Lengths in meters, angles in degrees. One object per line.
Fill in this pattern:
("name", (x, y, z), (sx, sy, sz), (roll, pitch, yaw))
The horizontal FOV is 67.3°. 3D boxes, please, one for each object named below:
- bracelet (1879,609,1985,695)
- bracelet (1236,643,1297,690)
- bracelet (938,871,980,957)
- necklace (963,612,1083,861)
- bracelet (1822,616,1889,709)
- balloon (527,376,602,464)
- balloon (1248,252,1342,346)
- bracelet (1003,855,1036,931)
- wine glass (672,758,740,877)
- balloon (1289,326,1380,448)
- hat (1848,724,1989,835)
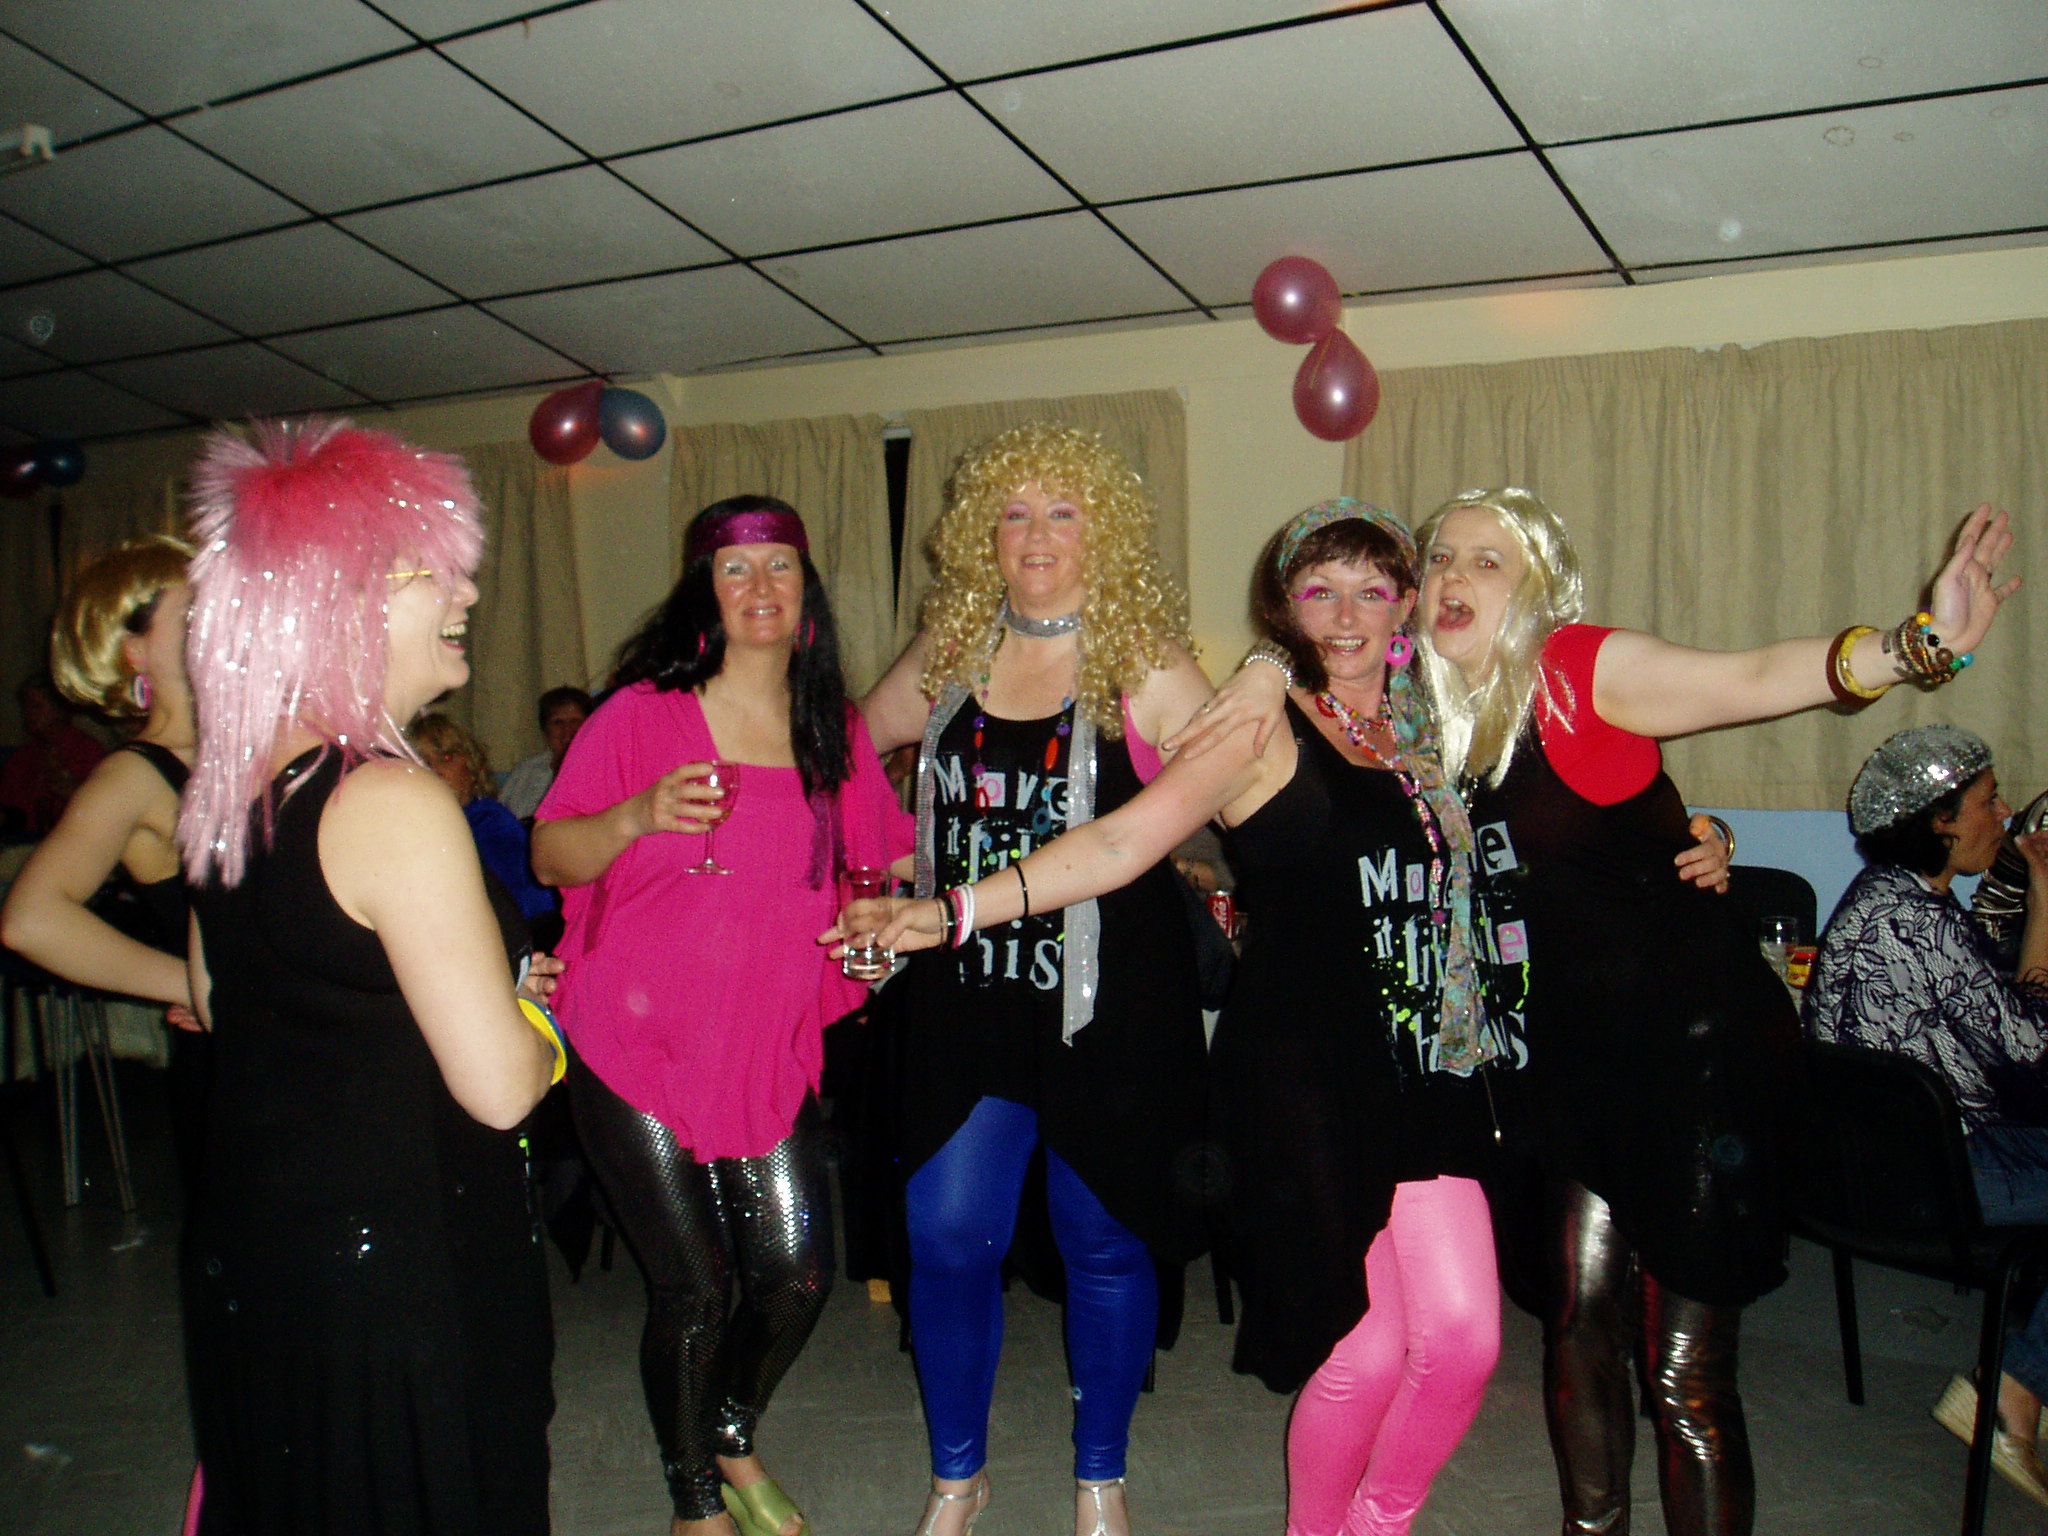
("bracelet", (1.639, -0.237, 2.808), (0.130, 0.151, 0.058), (38, -40, -8))
("bracelet", (0.464, -0.188, 2.964), (0.106, 0.115, 0.077), (13, 43, 14))
("bracelet", (-0.126, 0.277, 2.951), (0.074, 0.115, 0.053), (0, 5, -27))
("necklace", (0.042, -0.067, 3.147), (0.215, 0.486, 0.119), (-1, 0, 20))
("bracelet", (1.524, -0.194, 2.826), (0.052, 0.147, 0.119), (1, -36, 48))
("balloon", (-2.038, -1.524, 6.789), (0.227, 0.255, 0.354), (30, 10, -6))
("balloon", (0.988, -1.715, 5.596), (0.269, 0.320, 0.164), (-2, 22, 10))
("bracelet", (-0.029, 0.234, 2.996), (0.067, 0.103, 0.095), (1, -19, -9))
("wine glass", (-0.623, 0.104, 3.014), (0.092, 0.219, 0.255), (2, -1, -13))
("balloon", (1.188, -1.448, 5.906), (0.299, 0.557, 0.361), (1, -7, 7))
("hat", (2.283, 0.011, 3.915), (0.274, 0.105, 0.318), (-33, 9, -2))
